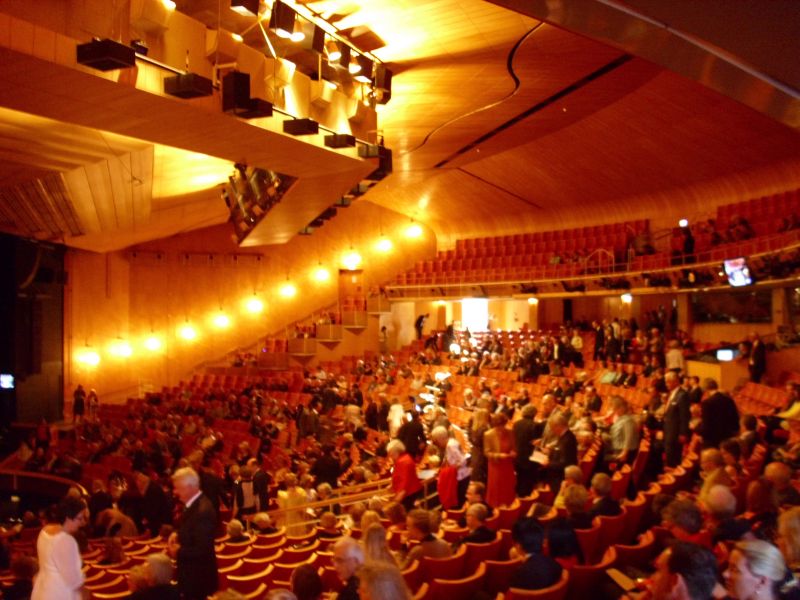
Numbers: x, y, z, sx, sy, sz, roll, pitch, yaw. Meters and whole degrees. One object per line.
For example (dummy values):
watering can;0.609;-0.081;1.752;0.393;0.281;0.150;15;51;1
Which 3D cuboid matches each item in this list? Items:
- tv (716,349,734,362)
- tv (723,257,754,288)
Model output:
tv;6.405;1.096;12.908;0.194;0.295;0.388;-2;-1;-19
tv;6.796;-0.568;13.116;0.059;0.610;0.443;-2;-19;-28
